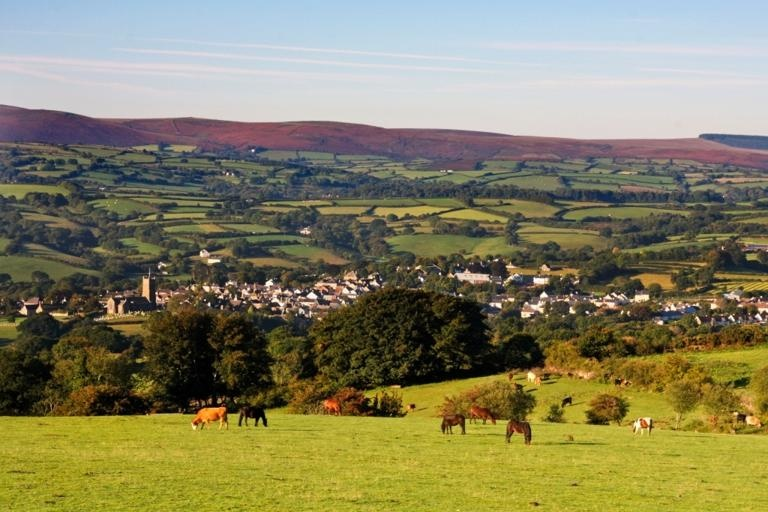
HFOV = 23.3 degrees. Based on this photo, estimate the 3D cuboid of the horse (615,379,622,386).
[{"bbox_3d":[72.385,40.353,566.315,2.294,1.824,0.863,0,0,5],"label":"horse"}]
